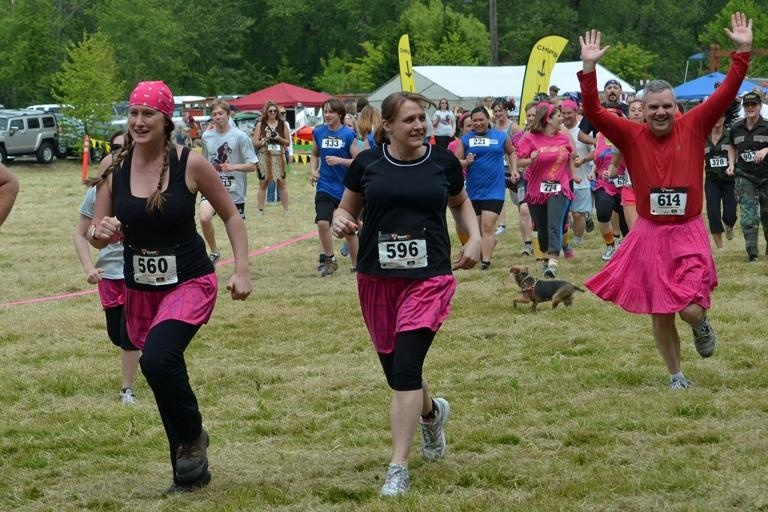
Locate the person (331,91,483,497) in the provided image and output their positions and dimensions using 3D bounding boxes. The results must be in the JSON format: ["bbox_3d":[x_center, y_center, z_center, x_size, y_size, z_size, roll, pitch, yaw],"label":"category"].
[{"bbox_3d":[0.158,0.189,7.645,0.921,2.852,1.204,12,20,43],"label":"person"}]

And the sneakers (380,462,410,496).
[{"bbox_3d":[0.077,1.652,7.347,0.220,0.237,0.255,-2,15,1],"label":"sneakers"}]

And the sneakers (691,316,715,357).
[{"bbox_3d":[2.888,0.740,8.898,0.196,0.436,0.147,33,-47,-32],"label":"sneakers"}]

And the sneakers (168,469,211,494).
[{"bbox_3d":[-1.480,1.713,7.450,0.126,0.162,0.371,-14,-14,25],"label":"sneakers"}]

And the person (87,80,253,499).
[{"bbox_3d":[-1.617,0.203,7.538,0.915,2.981,0.964,-12,18,-33],"label":"person"}]

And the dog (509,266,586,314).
[{"bbox_3d":[1.824,0.381,11.350,0.965,0.573,0.375,1,-1,18],"label":"dog"}]

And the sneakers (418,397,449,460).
[{"bbox_3d":[0.415,1.393,7.854,0.184,0.531,0.234,3,9,26],"label":"sneakers"}]

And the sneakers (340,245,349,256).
[{"bbox_3d":[-0.587,-0.094,14.701,0.098,0.198,0.287,4,21,3],"label":"sneakers"}]

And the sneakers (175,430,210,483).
[{"bbox_3d":[-1.446,1.531,7.442,0.289,0.395,0.116,-12,17,-32],"label":"sneakers"}]

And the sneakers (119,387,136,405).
[{"bbox_3d":[-2.348,1.275,8.970,0.106,0.165,0.167,1,-19,-1],"label":"sneakers"}]

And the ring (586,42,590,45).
[{"bbox_3d":[1.738,-1.812,8.351,0.026,0.023,0.007,-2,-2,-6],"label":"ring"}]
